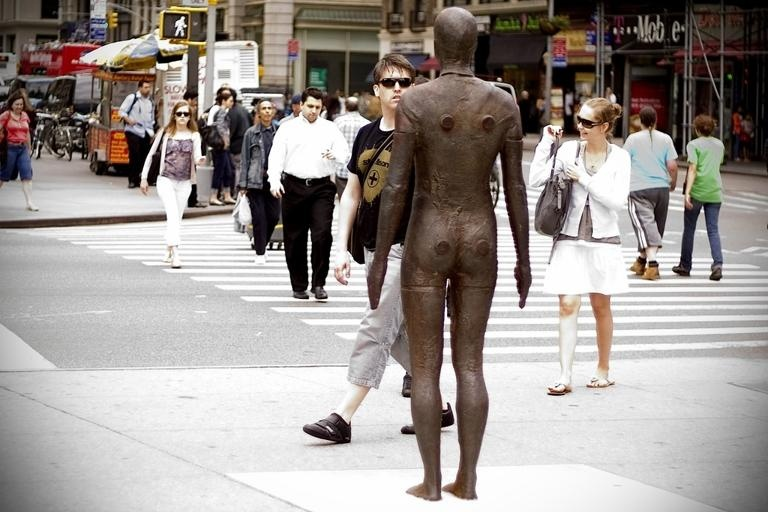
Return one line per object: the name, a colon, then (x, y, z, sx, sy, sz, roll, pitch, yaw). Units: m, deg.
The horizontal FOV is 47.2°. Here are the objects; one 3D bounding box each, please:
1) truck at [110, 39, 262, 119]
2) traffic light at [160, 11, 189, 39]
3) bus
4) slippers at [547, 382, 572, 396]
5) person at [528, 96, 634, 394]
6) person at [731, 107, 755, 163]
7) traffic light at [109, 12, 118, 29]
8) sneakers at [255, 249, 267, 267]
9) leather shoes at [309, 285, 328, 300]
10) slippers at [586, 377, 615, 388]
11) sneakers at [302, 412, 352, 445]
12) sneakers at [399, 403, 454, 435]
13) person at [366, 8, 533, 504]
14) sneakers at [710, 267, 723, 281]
truck: (-6.353, -6.046, 29.170, 4.159, 4.399, 3.009, -2, 8, -5)
traffic light: (-5.394, -5.931, 22.644, 0.585, 0.640, 0.303, -7, 17, -29)
bus: (-16.746, -9.319, 44.443, 3.152, 4.207, 23.530, -1, 9, -22)
slippers: (1.562, 1.194, 7.862, 0.091, 0.068, 0.243, -3, -7, 37)
person: (1.767, -0.096, 7.943, 0.876, 2.618, 0.655, 2, 6, 5)
person: (14.919, -5.069, 36.854, 1.046, 2.193, 0.732, -2, 7, -30)
traffic light: (-13.575, -11.891, 44.181, 0.372, 0.856, 1.909, -1, 8, -20)
sneakers: (-2.014, 0.053, 14.562, 0.120, 0.264, 0.363, 0, 9, -6)
leather shoes: (-0.869, 0.510, 11.964, 0.108, 0.150, 0.322, -3, 2, -20)
slippers: (2.024, 1.175, 8.172, 0.241, 0.072, 0.103, 1, -2, -32)
sneakers: (-0.419, 1.280, 6.463, 0.320, 0.187, 0.190, 11, 4, -12)
sneakers: (0.245, 1.269, 6.864, 0.598, 0.275, 0.208, -1, -7, 2)
person: (0.418, -0.015, 5.509, 1.001, 3.035, 0.469, 1, 6, -1)
sneakers: (5.459, 0.304, 14.467, 0.136, 0.138, 0.310, 0, -1, 5)
